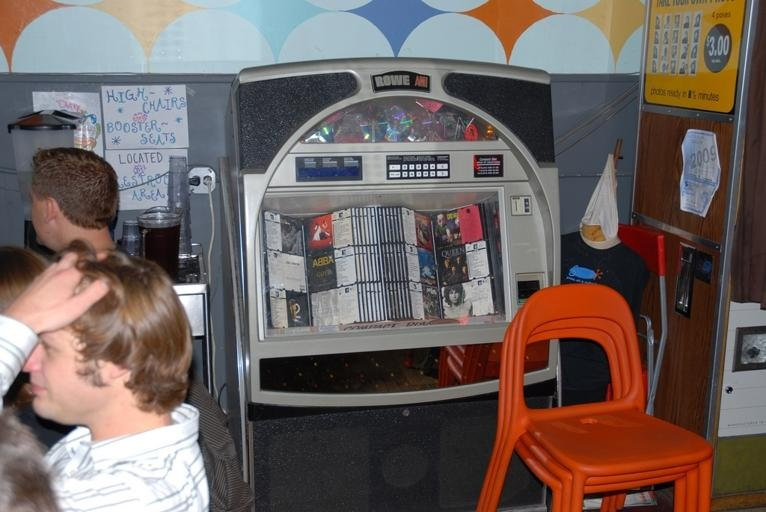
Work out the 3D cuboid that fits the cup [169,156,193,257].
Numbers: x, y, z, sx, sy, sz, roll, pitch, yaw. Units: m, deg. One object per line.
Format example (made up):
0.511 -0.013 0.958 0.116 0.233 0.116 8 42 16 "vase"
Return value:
-1.079 -0.262 3.421 0.115 0.537 0.216 -1 1 -17 "cup"
